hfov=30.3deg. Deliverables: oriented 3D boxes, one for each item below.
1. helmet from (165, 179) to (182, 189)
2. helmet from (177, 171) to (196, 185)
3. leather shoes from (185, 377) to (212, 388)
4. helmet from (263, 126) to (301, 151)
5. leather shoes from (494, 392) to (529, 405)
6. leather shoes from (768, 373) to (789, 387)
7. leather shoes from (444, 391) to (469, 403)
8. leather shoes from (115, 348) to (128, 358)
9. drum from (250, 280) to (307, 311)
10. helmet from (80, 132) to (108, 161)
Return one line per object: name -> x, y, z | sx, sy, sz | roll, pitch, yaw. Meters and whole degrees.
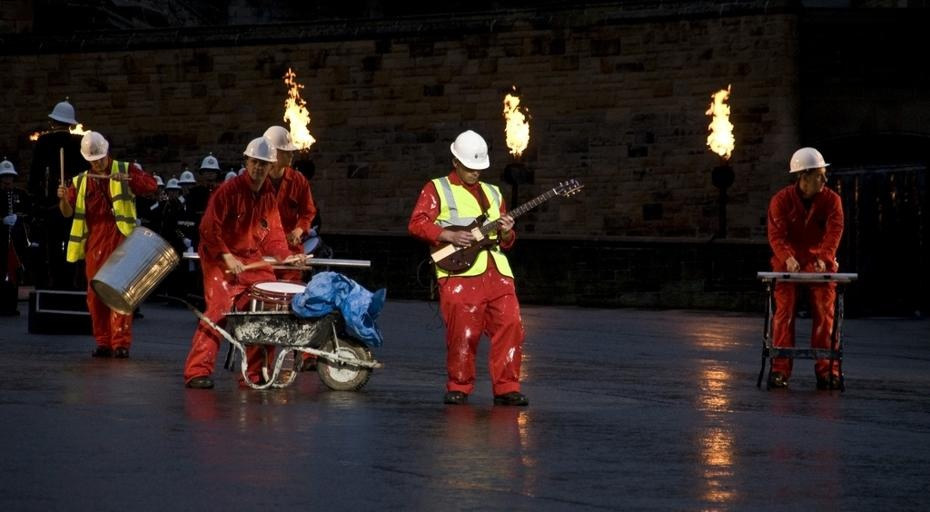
helmet -> -6.938, -1.689, 40.668 | 0.478, 0.223, 0.418 | 1, -2, -4
helmet -> -7.049, -1.937, 43.338 | 0.531, 0.279, 0.507 | -1, 0, -15
leather shoes -> -4.594, 2.186, 29.603 | 0.348, 0.091, 0.240 | -2, -1, 14
helmet -> -3.273, -2.086, 30.459 | 0.601, 0.257, 0.388 | 7, 19, -3
leather shoes -> 0.784, 2.419, 28.970 | 0.578, 0.177, 0.217 | -2, -1, 17
leather shoes -> 5.472, 2.201, 30.315 | 0.284, 0.260, 0.111 | 0, -8, -2
leather shoes -> -0.165, 2.401, 28.995 | 0.418, 0.154, 0.159 | 1, 11, -1
leather shoes -> -6.387, 1.801, 31.862 | 0.229, 0.158, 0.196 | 1, -5, -2
drum -> -3.281, 0.684, 29.438 | 0.718, 0.303, 0.628 | 2, 4, 18
helmet -> -7.008, -2.065, 32.366 | 0.533, 0.325, 0.611 | -13, 41, -12
